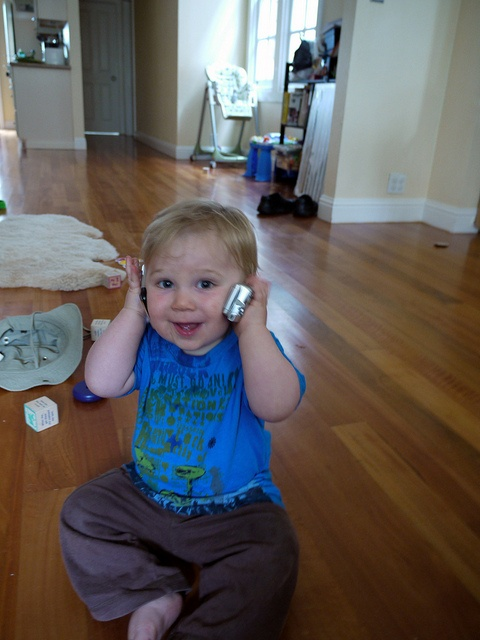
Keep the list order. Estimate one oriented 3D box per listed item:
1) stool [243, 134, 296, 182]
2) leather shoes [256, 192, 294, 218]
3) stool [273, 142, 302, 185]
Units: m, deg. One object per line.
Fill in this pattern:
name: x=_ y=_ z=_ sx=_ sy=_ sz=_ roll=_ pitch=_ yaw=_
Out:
stool: x=0.277 y=-1.692 z=4.967 sx=0.561 sy=0.597 sz=0.562 roll=-4 pitch=23 yaw=-18
leather shoes: x=0.251 y=-0.854 z=3.336 sx=0.347 sy=0.161 sz=0.125 roll=-17 pitch=32 yaw=-31
stool: x=0.490 y=-1.510 z=4.388 sx=0.350 sy=0.366 sz=0.346 roll=-8 pitch=22 yaw=-20
